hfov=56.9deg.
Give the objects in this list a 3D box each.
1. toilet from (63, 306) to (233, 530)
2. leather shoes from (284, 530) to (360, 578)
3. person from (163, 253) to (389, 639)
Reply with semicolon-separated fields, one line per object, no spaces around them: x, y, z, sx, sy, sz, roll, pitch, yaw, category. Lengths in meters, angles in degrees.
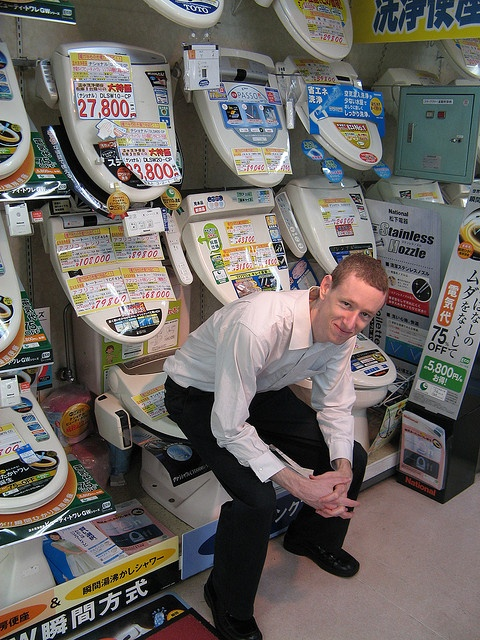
-0.270;0.286;1.268;0.369;0.466;0.389;-35;54;-29;toilet
0.245;0.692;1.354;0.215;0.077;0.079;19;34;29;leather shoes
0.097;0.282;1.099;0.503;0.906;0.424;2;10;-18;person
